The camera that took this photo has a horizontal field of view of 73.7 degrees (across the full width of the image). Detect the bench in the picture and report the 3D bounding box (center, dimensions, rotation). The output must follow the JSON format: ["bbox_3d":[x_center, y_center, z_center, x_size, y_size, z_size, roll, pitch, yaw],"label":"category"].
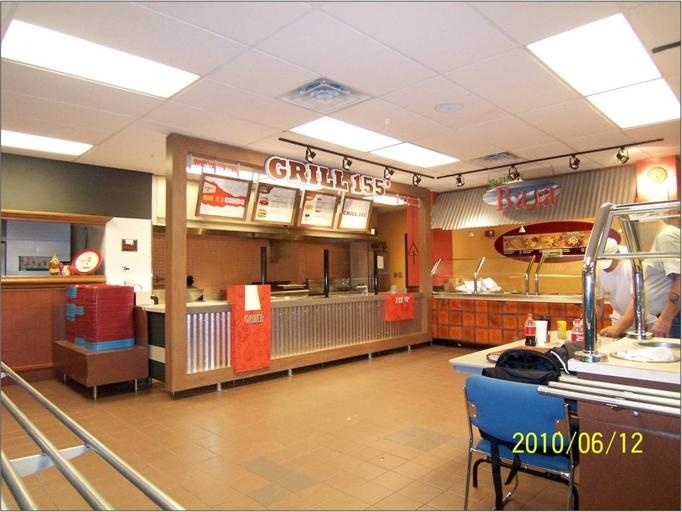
[{"bbox_3d":[-3.386,1.296,6.485,1.191,1.132,0.861,1,3,43],"label":"bench"}]

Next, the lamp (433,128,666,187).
[{"bbox_3d":[3.412,-1.604,7.754,3.406,0.257,0.598,1,2,40],"label":"lamp"}]

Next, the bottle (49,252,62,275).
[{"bbox_3d":[-4.468,0.135,7.122,0.161,0.298,0.295,-2,2,-30],"label":"bottle"}]

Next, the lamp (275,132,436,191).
[{"bbox_3d":[0.064,-1.318,7.194,3.279,0.317,0.283,6,-20,-39],"label":"lamp"}]

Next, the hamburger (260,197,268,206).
[{"bbox_3d":[-1.281,-0.899,7.451,0.169,0.131,0.088,3,-4,-44],"label":"hamburger"}]
